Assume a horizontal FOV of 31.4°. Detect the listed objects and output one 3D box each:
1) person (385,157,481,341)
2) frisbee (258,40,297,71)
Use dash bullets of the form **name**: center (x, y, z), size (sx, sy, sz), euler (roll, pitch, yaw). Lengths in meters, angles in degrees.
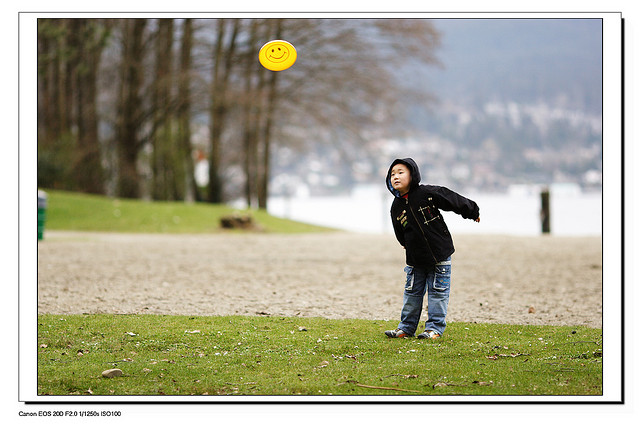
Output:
- **person**: center (1.447, 0.474, 15.381), size (1.165, 2.362, 0.662), euler (2, 13, 11)
- **frisbee**: center (-0.607, -2.244, 16.352), size (0.532, 0.438, 0.238), euler (-1, 13, -2)
